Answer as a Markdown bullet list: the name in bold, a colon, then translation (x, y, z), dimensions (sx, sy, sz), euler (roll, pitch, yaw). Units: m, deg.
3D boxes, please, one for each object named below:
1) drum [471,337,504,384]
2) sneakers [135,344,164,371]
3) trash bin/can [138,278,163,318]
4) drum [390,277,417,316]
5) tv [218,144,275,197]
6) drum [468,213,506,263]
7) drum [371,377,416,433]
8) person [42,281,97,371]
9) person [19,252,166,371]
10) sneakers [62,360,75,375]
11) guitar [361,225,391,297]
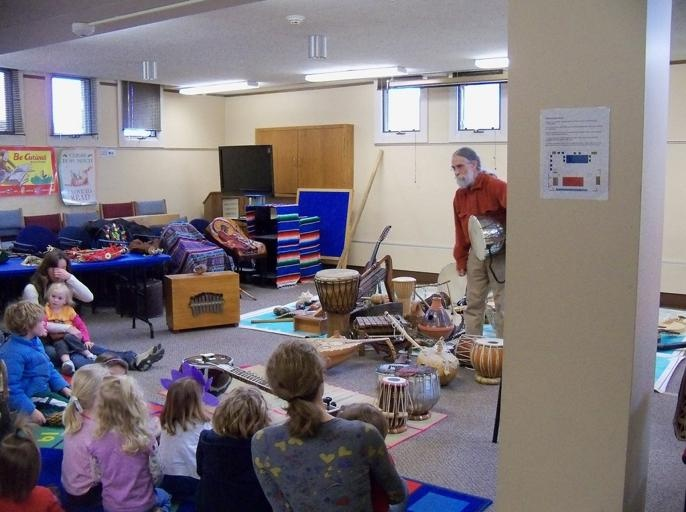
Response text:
- **drum**: translation (1.326, 0.984, 4.927), dimensions (0.275, 0.417, 0.296), euler (-2, 7, 0)
- **sneakers**: translation (-1.956, 1.040, 5.399), dimensions (0.194, 0.066, 0.137), euler (-44, 36, -14)
- **trash bin/can**: translation (-2.651, 0.579, 7.210), dimensions (0.422, 0.459, 0.429), euler (0, 1, -6)
- **drum**: translation (0.738, 0.490, 6.411), dimensions (0.278, 0.385, 0.282), euler (0, 0, 0)
- **tv**: translation (-1.853, -1.649, 10.308), dimensions (1.063, 0.780, 0.075), euler (4, 10, 33)
- **drum**: translation (1.406, -0.194, 5.222), dimensions (0.287, 0.463, 0.480), euler (-8, 27, -8)
- **drum**: translation (0.384, 1.089, 4.104), dimensions (0.339, 0.434, 0.336), euler (-1, 5, 0)
- **person**: translation (-2.640, 0.667, 5.110), dimensions (0.799, 0.609, 0.438), euler (25, 21, 37)
- **person**: translation (-2.596, 0.533, 5.566), dimensions (1.457, 1.112, 0.655), euler (13, 22, 8)
- **sneakers**: translation (-2.480, 0.999, 4.810), dimensions (0.064, 0.195, 0.082), euler (2, 21, -11)
- **guitar**: translation (0.398, 0.071, 6.387), dimensions (0.518, 1.276, 0.071), euler (2, 50, -4)
